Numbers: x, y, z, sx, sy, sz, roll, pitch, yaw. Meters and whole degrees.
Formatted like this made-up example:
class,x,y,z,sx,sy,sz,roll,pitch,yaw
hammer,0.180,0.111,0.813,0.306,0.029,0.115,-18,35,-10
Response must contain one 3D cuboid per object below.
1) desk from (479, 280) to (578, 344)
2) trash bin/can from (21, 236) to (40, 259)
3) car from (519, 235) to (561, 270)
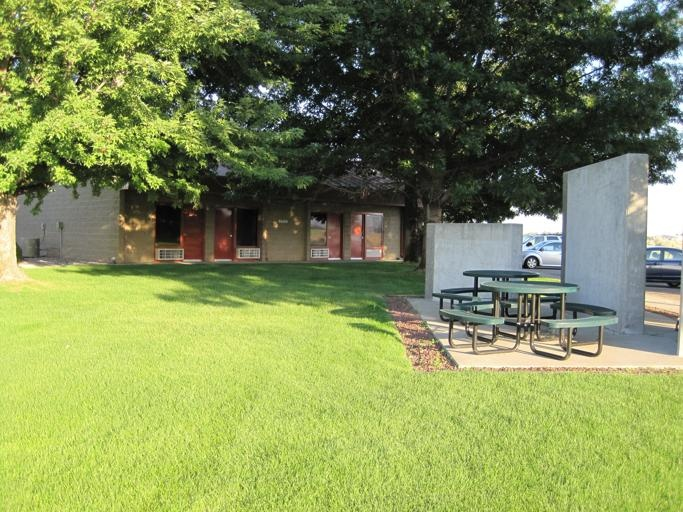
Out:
class,x,y,z,sx,sy,sz,roll,pitch,yaw
desk,2.752,0.602,8.479,1.119,0.758,1.134,-3,-4,43
trash bin/can,-14.451,-0.436,27.090,0.740,0.794,0.909,-5,10,-29
car,10.455,-0.137,30.574,3.016,1.595,1.846,1,-1,4
